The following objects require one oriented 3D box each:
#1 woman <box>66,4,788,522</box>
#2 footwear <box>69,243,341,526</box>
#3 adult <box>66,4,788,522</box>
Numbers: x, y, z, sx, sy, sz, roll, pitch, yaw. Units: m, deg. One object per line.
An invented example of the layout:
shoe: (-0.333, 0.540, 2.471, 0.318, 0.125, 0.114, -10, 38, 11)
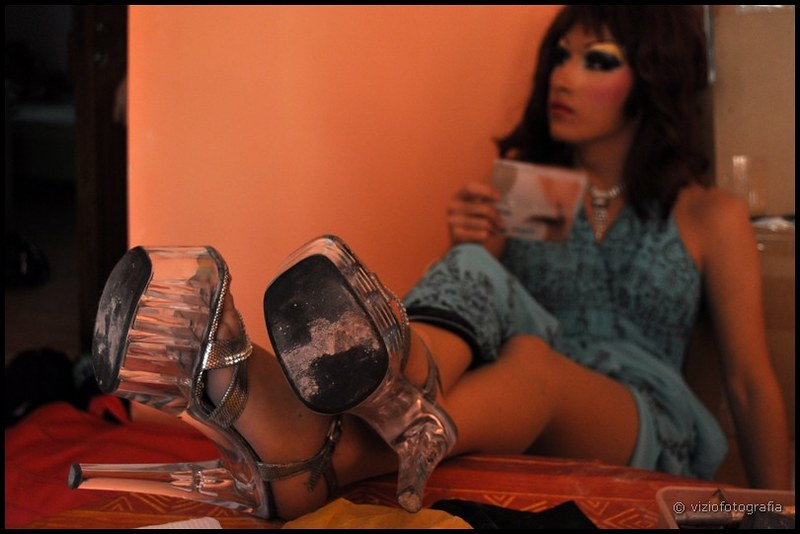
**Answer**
woman: (-0.015, -0.090, 2.057, 1.679, 1.439, 1.041, -5, 7, -24)
footwear: (-0.375, 0.111, 1.720, 0.298, 0.268, 0.784, 29, 11, -6)
adult: (-0.028, -0.051, 2.005, 1.679, 1.439, 1.041, -5, 7, -24)
